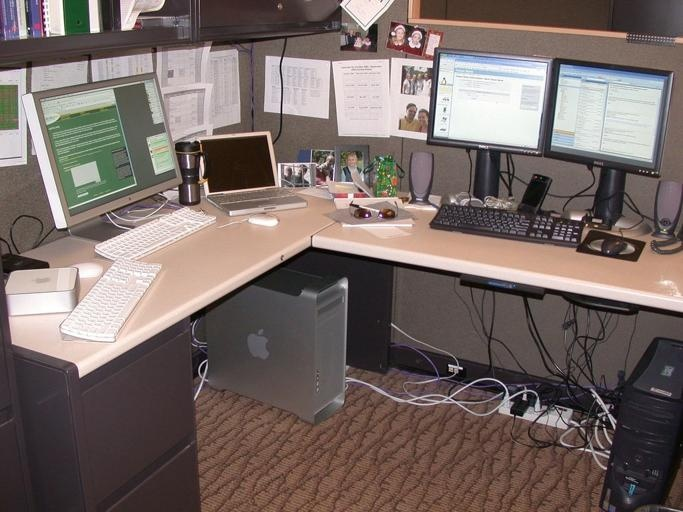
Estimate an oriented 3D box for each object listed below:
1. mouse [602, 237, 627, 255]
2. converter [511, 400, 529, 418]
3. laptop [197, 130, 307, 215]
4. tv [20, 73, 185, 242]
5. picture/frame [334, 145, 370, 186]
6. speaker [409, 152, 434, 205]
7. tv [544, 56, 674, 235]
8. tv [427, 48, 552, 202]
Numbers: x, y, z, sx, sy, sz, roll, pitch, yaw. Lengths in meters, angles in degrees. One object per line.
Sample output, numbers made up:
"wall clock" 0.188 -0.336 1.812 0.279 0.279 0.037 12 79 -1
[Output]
"mouse" 0.976 -0.028 2.030 0.056 0.019 0.066 4 47 15
"converter" 0.816 0.700 2.604 0.046 0.021 0.090 10 31 26
"laptop" -0.371 -0.317 2.377 0.399 0.288 0.396 -16 33 -33
"tv" -0.874 -0.343 2.011 0.146 0.464 0.527 16 24 17
"picture/frame" 0.048 -0.417 2.603 0.183 0.256 0.019 1 7 -6
"speaker" 0.344 -0.339 2.454 0.108 0.245 0.079 5 28 9
"tv" 1.061 -0.446 2.211 0.460 0.712 0.266 22 40 31
"tv" 0.643 -0.529 2.462 0.497 0.705 0.195 13 35 27
